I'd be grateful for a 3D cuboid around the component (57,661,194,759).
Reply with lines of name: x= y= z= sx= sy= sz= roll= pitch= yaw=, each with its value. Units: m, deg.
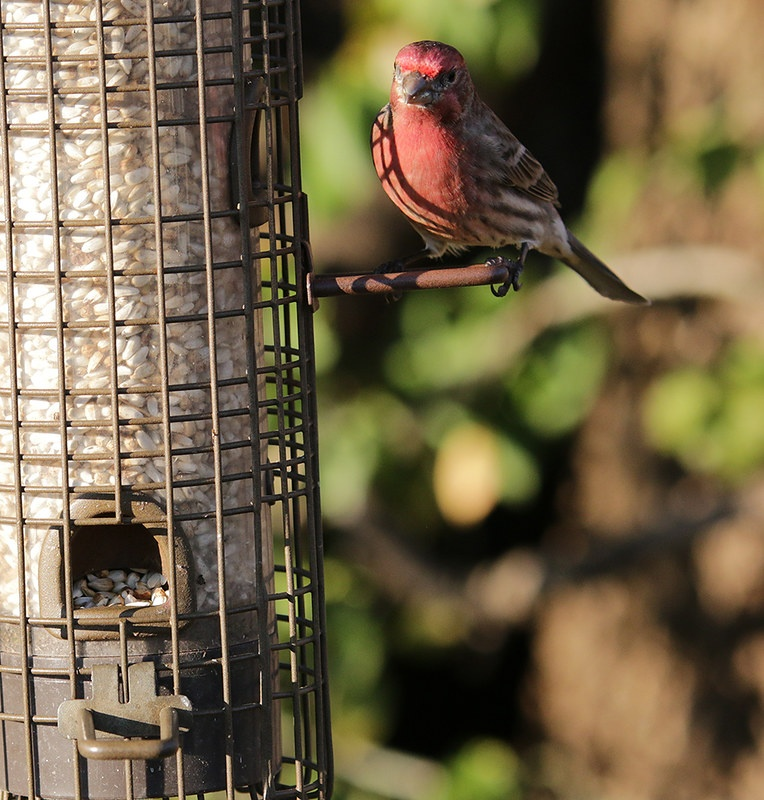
component: x=-0.497 y=0.644 z=4.241 sx=0.275 sy=0.172 sz=0.266 roll=-5 pitch=18 yaw=-13
